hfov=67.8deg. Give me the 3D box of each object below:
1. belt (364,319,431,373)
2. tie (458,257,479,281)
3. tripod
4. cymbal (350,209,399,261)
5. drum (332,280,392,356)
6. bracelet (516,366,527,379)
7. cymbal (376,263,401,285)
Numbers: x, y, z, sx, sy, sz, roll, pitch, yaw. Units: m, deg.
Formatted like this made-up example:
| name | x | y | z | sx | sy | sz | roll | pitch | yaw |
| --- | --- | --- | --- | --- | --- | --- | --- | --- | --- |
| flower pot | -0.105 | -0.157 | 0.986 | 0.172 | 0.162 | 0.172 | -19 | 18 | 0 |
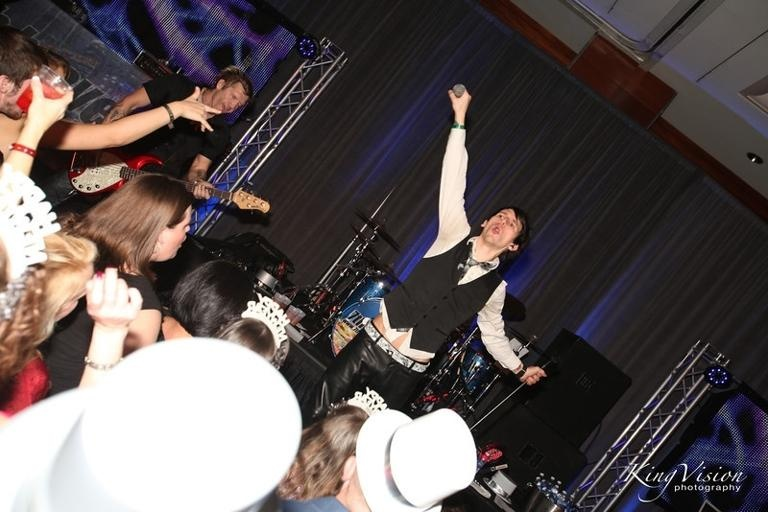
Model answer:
| name | x | y | z | sx | sy | sz | roll | pitch | yaw |
| --- | --- | --- | --- | --- | --- | --- | --- | --- | --- |
| belt | 0.076 | 0.648 | 4.010 | 0.371 | 0.088 | 0.367 | 41 | -8 | 3 |
| tie | 0.608 | 0.082 | 4.090 | 0.099 | 0.171 | 0.086 | -1 | 17 | -18 |
| tripod | -0.398 | 0.479 | 5.206 | 1.423 | 1.195 | 1.209 | 31 | -25 | 38 |
| cymbal | -0.086 | -0.222 | 6.465 | 0.664 | 0.230 | 0.241 | 42 | -19 | -11 |
| drum | -0.173 | 0.529 | 4.776 | 0.414 | 0.442 | 0.430 | 9 | -45 | 33 |
| bracelet | 1.066 | 0.894 | 4.406 | 0.052 | 0.090 | 0.107 | -81 | 167 | -55 |
| cymbal | 0.034 | 0.130 | 4.514 | 0.161 | 0.063 | 0.225 | 41 | -5 | -12 |
